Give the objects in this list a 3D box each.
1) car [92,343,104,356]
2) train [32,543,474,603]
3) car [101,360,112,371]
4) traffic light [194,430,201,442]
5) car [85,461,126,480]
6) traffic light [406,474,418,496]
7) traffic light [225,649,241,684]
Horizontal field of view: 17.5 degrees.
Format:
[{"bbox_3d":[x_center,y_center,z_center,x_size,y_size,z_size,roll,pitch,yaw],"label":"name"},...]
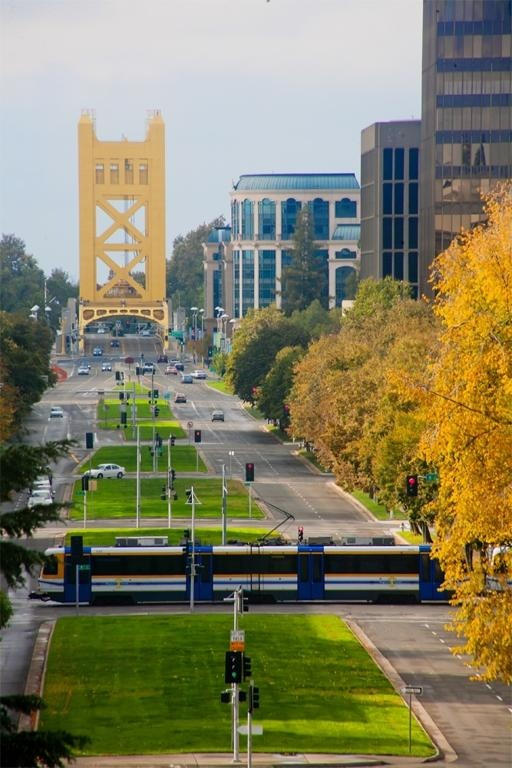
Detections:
[{"bbox_3d":[-21.578,-4.371,226.781,1.121,1.231,3.029,-1,-2,-4],"label":"car"},{"bbox_3d":[-0.444,7.554,65.650,14.925,2.768,1.832,-1,2,-8],"label":"train"},{"bbox_3d":[-17.868,-1.867,198.299,0.755,1.174,3.019,-2,-5,-3],"label":"car"},{"bbox_3d":[-3.524,3.139,98.935,0.224,0.716,0.918,-1,2,-8],"label":"traffic light"},{"bbox_3d":[-9.435,5.607,106.026,2.205,1.080,1.121,5,-4,-28],"label":"car"},{"bbox_3d":[6.236,4.150,67.354,0.334,0.787,0.618,0,2,13],"label":"traffic light"},{"bbox_3d":[-0.570,7.187,42.294,0.399,0.820,0.340,0,2,5],"label":"traffic light"}]
